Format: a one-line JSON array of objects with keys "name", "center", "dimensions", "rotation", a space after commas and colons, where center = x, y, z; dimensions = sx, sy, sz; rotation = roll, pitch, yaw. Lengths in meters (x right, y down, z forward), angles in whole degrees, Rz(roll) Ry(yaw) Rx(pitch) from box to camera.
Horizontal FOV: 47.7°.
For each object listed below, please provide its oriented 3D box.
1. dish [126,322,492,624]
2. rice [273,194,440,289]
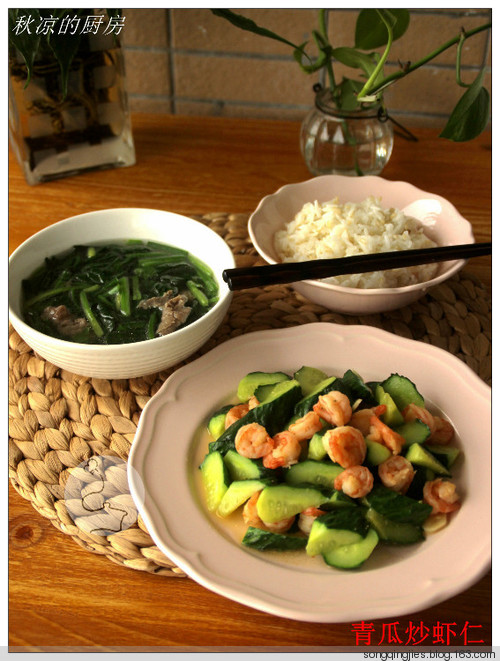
[{"name": "dish", "center": [0.129, 0.197, 1.032], "dimensions": [0.626, 0.154, 0.709], "rotation": [10, 29, 26]}, {"name": "rice", "center": [0.260, -0.246, 1.425], "dimensions": [0.309, 0.128, 0.310], "rotation": [-6, 31, -7]}]
